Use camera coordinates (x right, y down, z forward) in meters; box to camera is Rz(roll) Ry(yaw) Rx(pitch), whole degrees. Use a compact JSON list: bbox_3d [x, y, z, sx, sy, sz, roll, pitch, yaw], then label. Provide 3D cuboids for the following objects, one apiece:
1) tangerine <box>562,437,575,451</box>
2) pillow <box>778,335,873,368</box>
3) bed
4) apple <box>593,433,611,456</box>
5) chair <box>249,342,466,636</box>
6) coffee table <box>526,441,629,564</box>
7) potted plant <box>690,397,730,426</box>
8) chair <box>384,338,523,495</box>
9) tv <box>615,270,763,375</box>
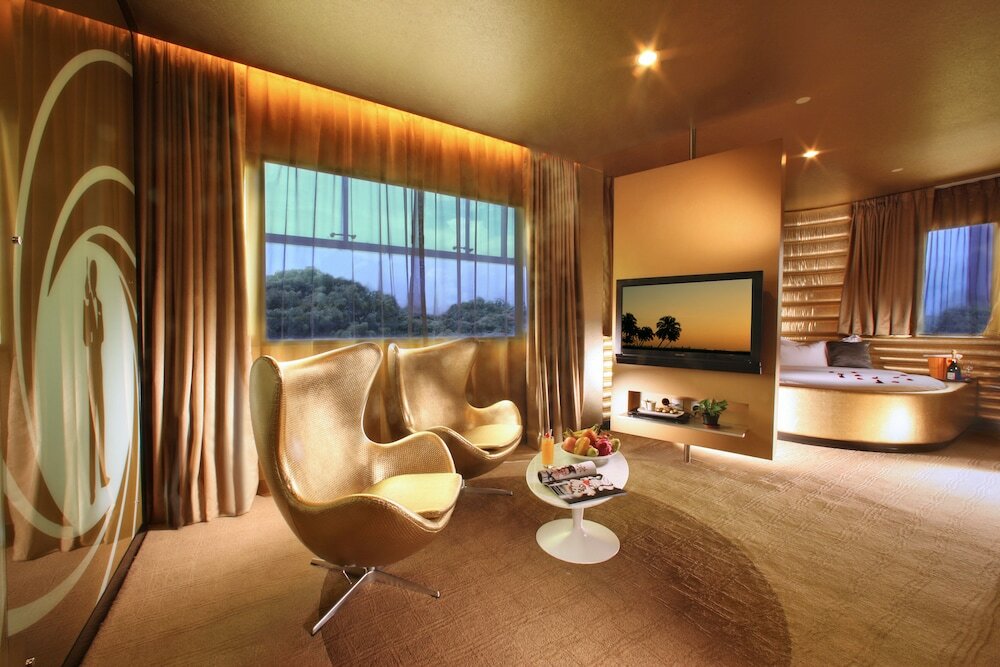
[{"bbox_3d":[0.506,0.802,4.489,0.081,0.089,0.083,2,7,35],"label":"tangerine"},{"bbox_3d":[3.737,0.195,7.061,0.608,0.201,0.633,0,31,17],"label":"pillow"},{"bbox_3d":[3.772,0.752,6.147,1.948,0.695,0.738,-1,3,6],"label":"bed"},{"bbox_3d":[0.738,0.810,4.439,0.101,0.141,0.113,-4,-36,-16],"label":"apple"},{"bbox_3d":[-0.889,0.940,4.124,1.263,1.649,1.345,1,7,11],"label":"chair"},{"bbox_3d":[0.541,1.257,4.314,0.643,0.458,0.664,-9,11,-26],"label":"coffee table"},{"bbox_3d":[1.911,0.696,5.590,0.247,0.175,0.244,3,-5,-42],"label":"potted plant"},{"bbox_3d":[-0.372,0.671,4.936,1.015,1.233,1.165,-2,3,13],"label":"chair"},{"bbox_3d":[1.749,-0.111,5.733,1.294,0.870,0.214,0,4,30],"label":"tv"}]
